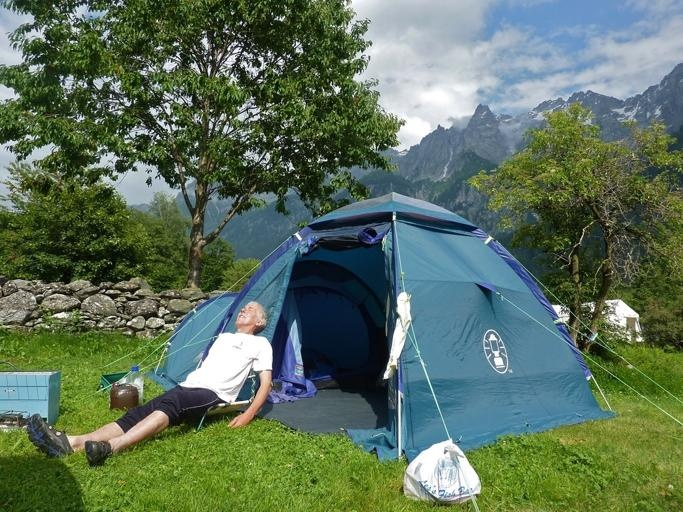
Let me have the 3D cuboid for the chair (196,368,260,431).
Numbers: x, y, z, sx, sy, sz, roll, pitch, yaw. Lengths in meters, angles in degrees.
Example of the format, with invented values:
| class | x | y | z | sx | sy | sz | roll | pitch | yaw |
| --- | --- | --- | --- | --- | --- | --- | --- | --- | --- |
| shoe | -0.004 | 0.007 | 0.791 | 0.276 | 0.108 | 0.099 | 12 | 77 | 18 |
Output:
| class | x | y | z | sx | sy | sz | roll | pitch | yaw |
| --- | --- | --- | --- | --- | --- | --- | --- | --- | --- |
| chair | -2.191 | 2.842 | 11.375 | 0.876 | 1.278 | 0.779 | 25 | -42 | -10 |

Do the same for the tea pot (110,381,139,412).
| class | x | y | z | sx | sy | sz | roll | pitch | yaw |
| --- | --- | --- | --- | --- | --- | --- | --- | --- | --- |
| tea pot | -4.322 | 2.752 | 11.446 | 0.476 | 0.452 | 0.510 | 2 | -8 | 0 |
